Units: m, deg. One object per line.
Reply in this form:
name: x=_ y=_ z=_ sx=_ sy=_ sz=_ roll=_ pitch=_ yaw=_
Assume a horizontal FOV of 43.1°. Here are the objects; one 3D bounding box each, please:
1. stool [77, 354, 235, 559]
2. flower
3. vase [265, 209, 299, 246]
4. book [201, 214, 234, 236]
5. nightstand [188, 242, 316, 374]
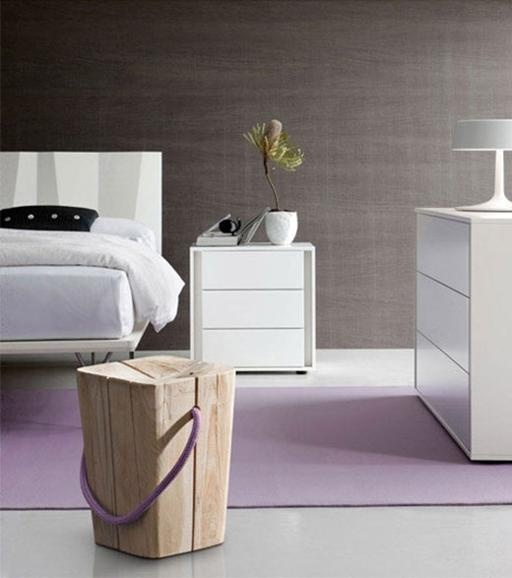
stool: x=-0.171 y=0.332 z=1.520 sx=0.346 sy=0.510 sz=0.342 roll=1 pitch=-3 yaw=-44
flower: x=0.091 y=-0.682 z=3.474 sx=0.342 sy=0.525 sz=0.531 roll=0 pitch=5 yaw=4
vase: x=0.131 y=-0.316 z=3.356 sx=0.159 sy=0.173 sz=0.156 roll=-1 pitch=4 yaw=-17
book: x=-0.202 y=-0.319 z=3.335 sx=0.145 sy=0.082 sz=0.120 roll=-3 pitch=3 yaw=-2
nightstand: x=-0.026 y=0.088 z=3.147 sx=0.553 sy=0.644 sz=0.284 roll=0 pitch=-1 yaw=-1
